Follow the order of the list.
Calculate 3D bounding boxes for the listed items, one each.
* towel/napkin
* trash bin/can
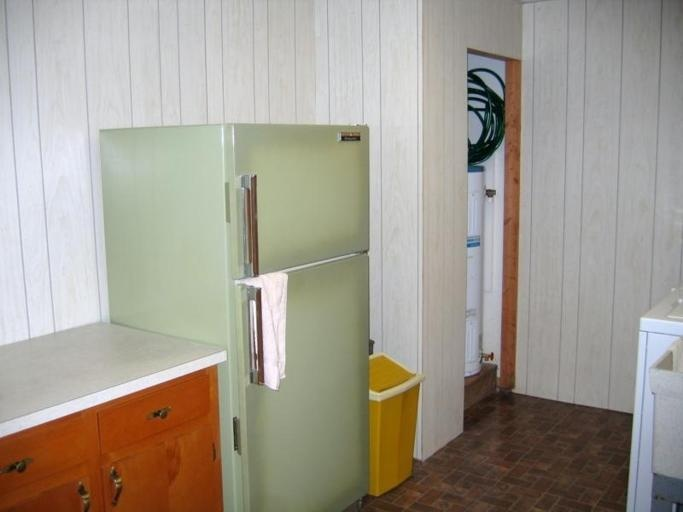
[{"bbox_3d":[-0.332,0.322,2.494,0.149,0.484,0.155,3,12,21],"label":"towel/napkin"},{"bbox_3d":[0.249,1.002,3.353,0.307,0.689,0.434,7,14,38],"label":"trash bin/can"}]
